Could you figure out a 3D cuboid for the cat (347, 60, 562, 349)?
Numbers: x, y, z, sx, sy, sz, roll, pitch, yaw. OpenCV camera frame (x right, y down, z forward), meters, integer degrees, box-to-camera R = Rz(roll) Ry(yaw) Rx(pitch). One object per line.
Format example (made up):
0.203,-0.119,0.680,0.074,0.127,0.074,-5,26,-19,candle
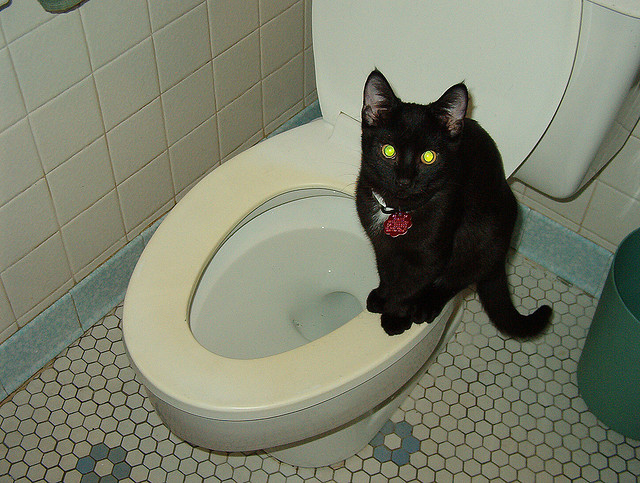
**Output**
0.232,-0.088,1.241,0.421,0.556,0.309,-22,42,-32,cat

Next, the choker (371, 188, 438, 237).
0.145,-0.061,1.140,0.125,0.087,0.069,20,53,16,choker
